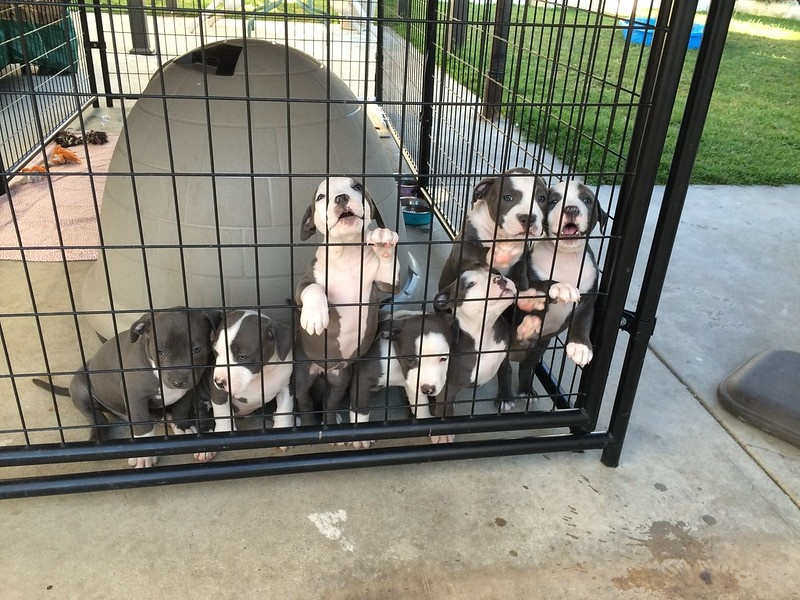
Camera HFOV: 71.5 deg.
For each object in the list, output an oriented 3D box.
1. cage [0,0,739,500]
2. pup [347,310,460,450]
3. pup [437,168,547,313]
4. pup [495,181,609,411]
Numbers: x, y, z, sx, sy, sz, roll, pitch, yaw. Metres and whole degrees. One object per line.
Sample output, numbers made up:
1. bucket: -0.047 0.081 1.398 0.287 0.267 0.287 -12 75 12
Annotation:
1. cage: 0.419 -0.166 2.438 1.774 1.165 1.857 -4 31 6
2. pup: 0.019 0.221 2.051 0.298 0.394 0.602 -1 19 -23
3. pup: 0.368 -0.263 2.219 0.281 0.537 0.631 5 -1 -13
4. pup: 0.592 0.038 2.305 0.278 0.947 0.654 8 66 3
